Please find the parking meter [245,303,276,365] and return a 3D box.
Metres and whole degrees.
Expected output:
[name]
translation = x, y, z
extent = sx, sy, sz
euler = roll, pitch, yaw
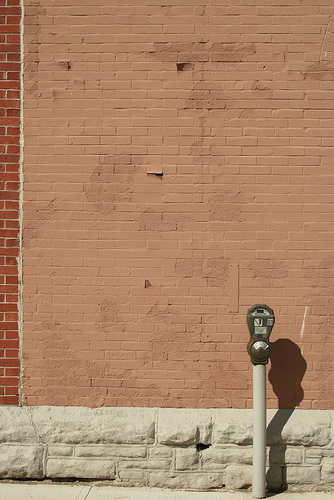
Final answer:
[parking meter]
translation = 0.688, 0.630, 10.402
extent = 0.202, 0.432, 0.171
euler = 0, -16, 3
